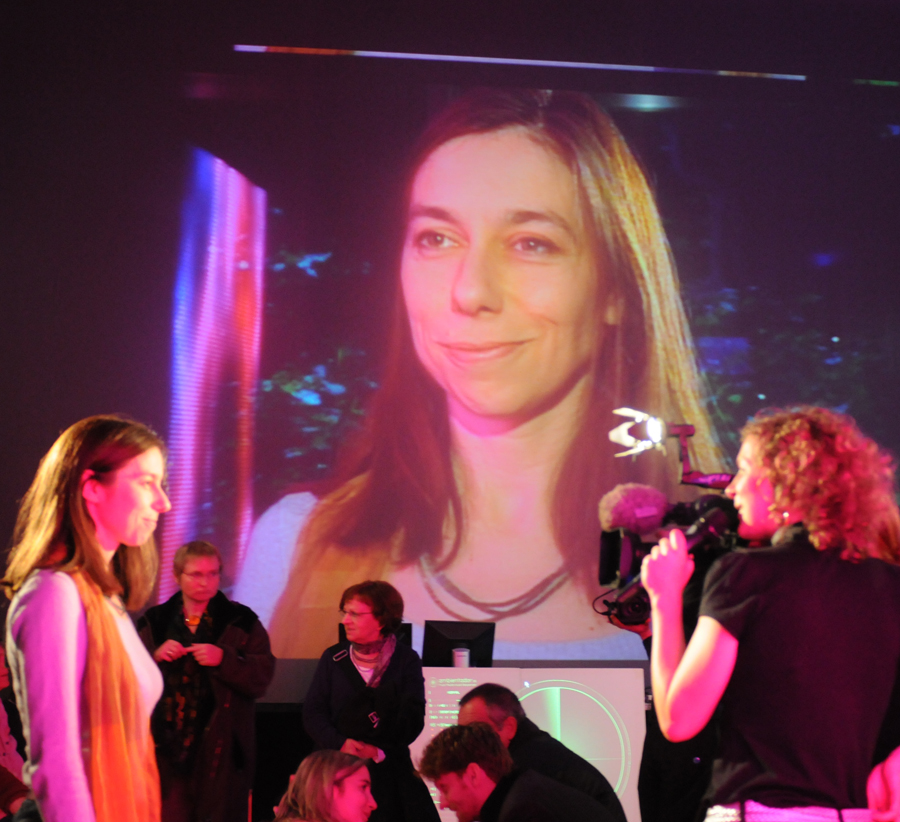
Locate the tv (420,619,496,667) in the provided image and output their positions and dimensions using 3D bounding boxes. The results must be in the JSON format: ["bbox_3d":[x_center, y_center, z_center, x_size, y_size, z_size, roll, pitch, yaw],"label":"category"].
[{"bbox_3d":[0.027,1.028,4.484,0.349,0.178,0.242,0,28,2],"label":"tv"}]

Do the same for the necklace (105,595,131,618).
[{"bbox_3d":[-0.871,0.506,2.641,0.055,0.021,0.040,49,-6,-24],"label":"necklace"}]

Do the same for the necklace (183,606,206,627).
[{"bbox_3d":[-1.084,0.868,4.287,0.067,0.075,0.088,4,-40,-6],"label":"necklace"}]

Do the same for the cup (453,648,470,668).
[{"bbox_3d":[0.045,1.085,4.431,0.065,0.061,0.067,-1,-5,0],"label":"cup"}]
